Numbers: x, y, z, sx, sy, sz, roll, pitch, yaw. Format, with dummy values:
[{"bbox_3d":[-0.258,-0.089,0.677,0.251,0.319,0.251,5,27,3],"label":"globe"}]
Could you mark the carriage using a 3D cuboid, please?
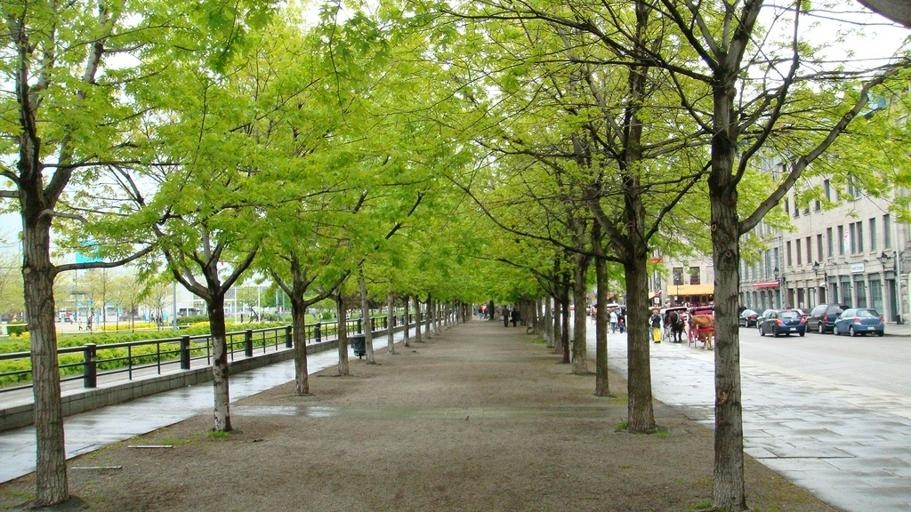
[{"bbox_3d":[15.032,4.539,47.006,3.463,2.432,16.210,-3,-5,18],"label":"carriage"}]
